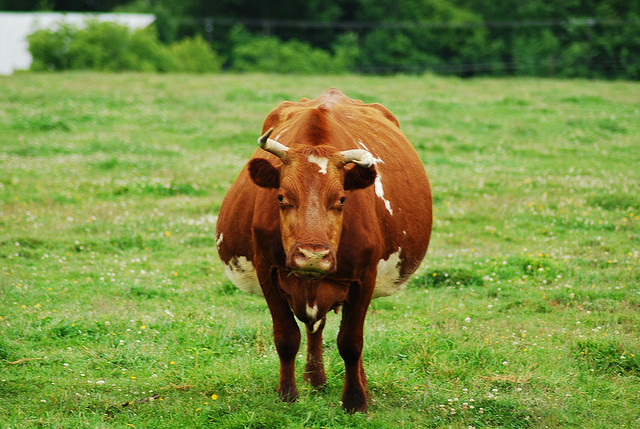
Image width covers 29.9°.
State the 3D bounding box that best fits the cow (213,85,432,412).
[{"bbox_3d":[0.153,0.367,17.990,2.774,4.273,3.760,9,15,36],"label":"cow"}]
